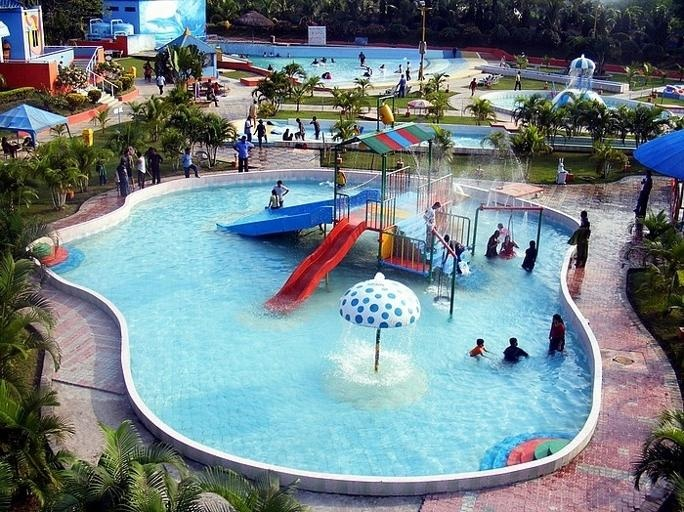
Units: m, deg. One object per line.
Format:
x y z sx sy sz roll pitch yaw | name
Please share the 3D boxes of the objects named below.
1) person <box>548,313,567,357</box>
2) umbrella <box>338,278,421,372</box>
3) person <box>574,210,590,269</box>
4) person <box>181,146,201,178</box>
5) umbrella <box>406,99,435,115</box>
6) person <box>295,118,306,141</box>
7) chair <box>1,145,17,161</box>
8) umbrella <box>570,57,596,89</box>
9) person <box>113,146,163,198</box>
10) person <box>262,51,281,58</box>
4.931 1.740 12.776 0.344 0.990 0.455 8 18 24 | person
0.767 1.536 12.049 1.436 2.214 1.519 8 20 16 | umbrella
7.154 -0.527 16.674 0.374 1.624 0.546 8 18 24 | person
-6.448 -4.145 23.951 0.591 1.138 2.456 -4 18 -14 | person
4.892 -9.261 34.497 1.233 0.683 1.317 -17 35 -21 | umbrella
-2.173 -6.656 29.351 0.377 1.025 0.788 -1 17 -4 | person
-14.053 -4.529 23.816 0.562 0.677 1.558 -10 20 -29 | chair
18.386 -13.981 42.462 1.867 2.743 2.060 4 16 10 | umbrella
-8.013 -3.318 21.969 0.941 1.403 2.248 4 18 2 | person
-8.185 -23.755 65.425 1.955 0.562 1.105 -2 17 -6 | person
